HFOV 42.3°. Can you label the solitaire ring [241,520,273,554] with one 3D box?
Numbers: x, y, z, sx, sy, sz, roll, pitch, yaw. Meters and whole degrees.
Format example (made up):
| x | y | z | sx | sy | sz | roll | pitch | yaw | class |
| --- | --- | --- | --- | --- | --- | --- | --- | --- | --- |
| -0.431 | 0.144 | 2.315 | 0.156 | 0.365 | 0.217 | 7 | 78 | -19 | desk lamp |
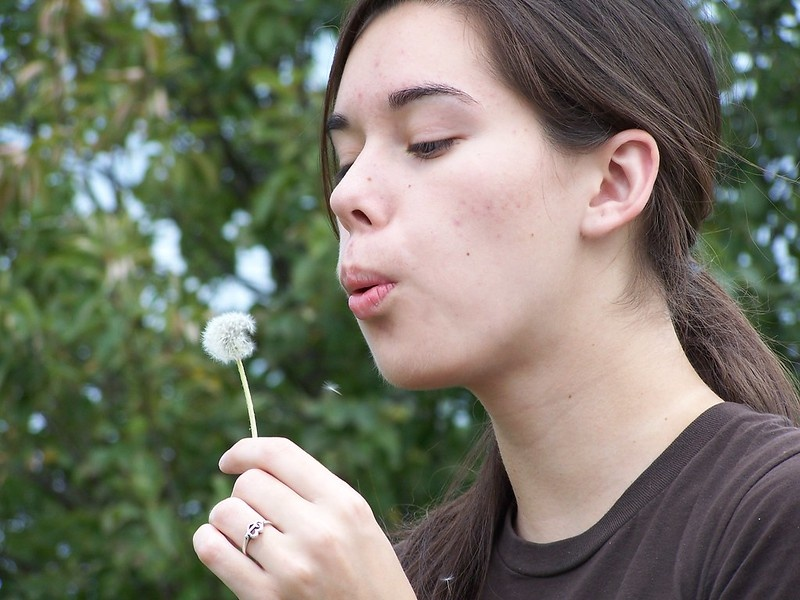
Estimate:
| x | y | z | sx | sy | sz | roll | pitch | yaw | class |
| --- | --- | --- | --- | --- | --- | --- | --- | --- | --- |
| -0.395 | 0.653 | 2.855 | 0.063 | 0.027 | 0.075 | -41 | -19 | -12 | solitaire ring |
